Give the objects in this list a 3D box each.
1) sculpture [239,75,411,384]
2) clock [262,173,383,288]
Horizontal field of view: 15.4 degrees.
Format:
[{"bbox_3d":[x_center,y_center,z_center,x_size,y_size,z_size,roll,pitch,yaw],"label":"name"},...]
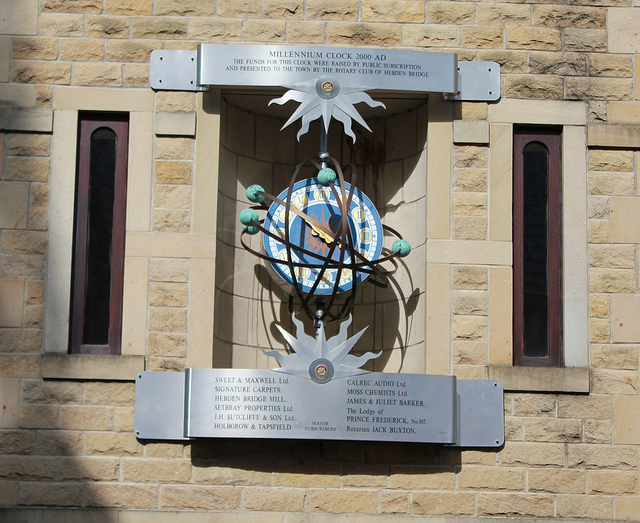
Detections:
[{"bbox_3d":[0.078,-0.283,22.953,1.661,3.026,1.081,1,-3,17],"label":"sculpture"},{"bbox_3d":[0.133,-0.279,23.040,1.066,1.212,1.128,0,-18,0],"label":"clock"}]
